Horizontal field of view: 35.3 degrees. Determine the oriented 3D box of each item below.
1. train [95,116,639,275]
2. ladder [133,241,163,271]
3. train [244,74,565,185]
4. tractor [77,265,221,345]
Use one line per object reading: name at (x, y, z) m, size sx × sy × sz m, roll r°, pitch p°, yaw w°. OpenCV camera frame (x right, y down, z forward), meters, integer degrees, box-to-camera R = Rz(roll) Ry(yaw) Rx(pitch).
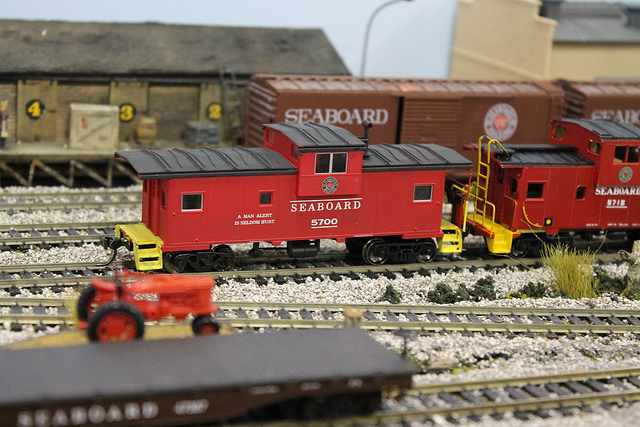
train at (1.770, -0.318, 29.070) m, size 18.967 × 4.883 × 5.314 m, roll -1°, pitch 1°, yaw -21°
ladder at (-4.663, 1.135, 27.048) m, size 0.571 × 0.478 × 0.940 m, roll 0°, pitch 12°, yaw -17°
train at (3.103, -5.446, 33.866) m, size 12.144 × 4.525 × 3.720 m, roll -2°, pitch 27°, yaw -11°
tractor at (-3.959, 2.100, 23.485) m, size 3.177 × 1.522 × 1.658 m, roll -4°, pitch 17°, yaw -14°
